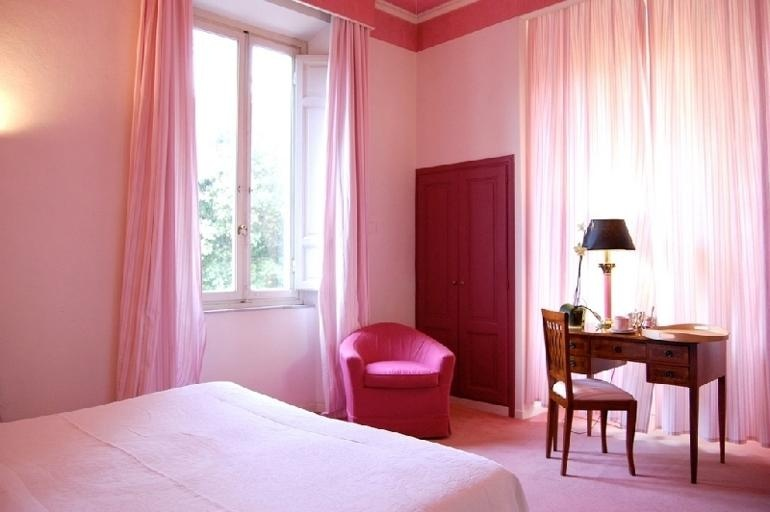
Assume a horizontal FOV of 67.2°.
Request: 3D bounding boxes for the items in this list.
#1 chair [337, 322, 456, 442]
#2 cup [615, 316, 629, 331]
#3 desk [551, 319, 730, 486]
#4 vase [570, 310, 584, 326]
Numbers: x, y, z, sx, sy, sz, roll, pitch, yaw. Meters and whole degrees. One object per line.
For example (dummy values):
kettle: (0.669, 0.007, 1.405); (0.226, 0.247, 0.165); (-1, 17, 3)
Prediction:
chair: (0.088, 1.162, 5.639); (1.052, 1.025, 0.995); (1, -5, -5)
cup: (1.943, 0.549, 4.757); (0.108, 0.110, 0.112); (1, -6, 0)
desk: (2.153, 1.096, 4.953); (0.777, 1.042, 1.257); (-3, 0, -44)
vase: (1.654, 0.535, 4.987); (0.118, 0.139, 0.121); (2, -10, 0)
